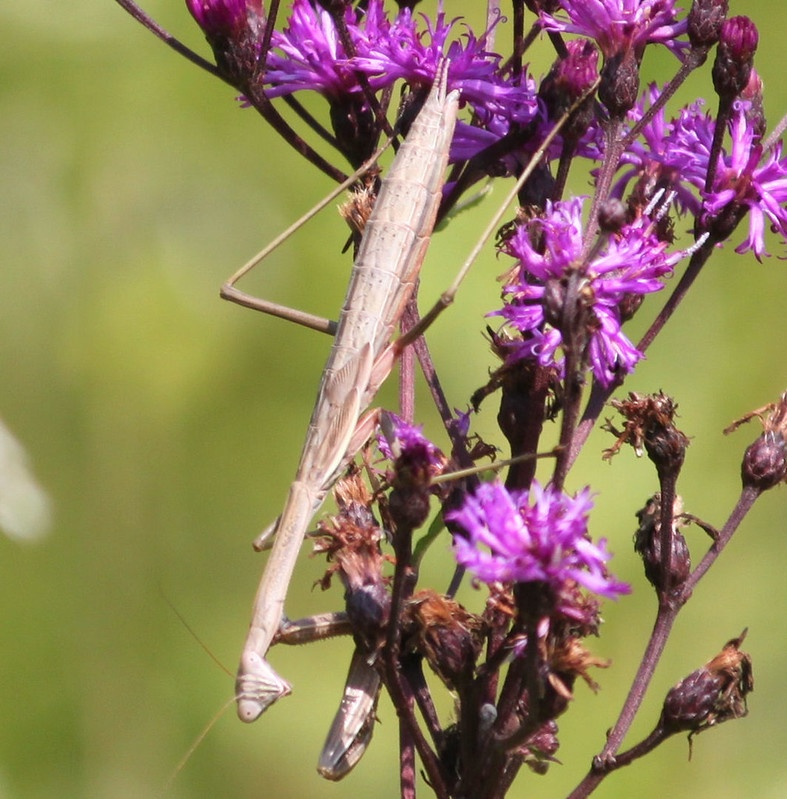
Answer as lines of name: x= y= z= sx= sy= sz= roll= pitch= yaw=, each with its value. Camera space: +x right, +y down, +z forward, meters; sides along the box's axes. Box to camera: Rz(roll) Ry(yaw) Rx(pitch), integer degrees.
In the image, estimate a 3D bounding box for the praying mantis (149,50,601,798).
praying mantis: x=0.000 y=-0.001 z=1.404 sx=0.314 sy=0.196 sz=0.738 roll=12 pitch=-85 yaw=-4
